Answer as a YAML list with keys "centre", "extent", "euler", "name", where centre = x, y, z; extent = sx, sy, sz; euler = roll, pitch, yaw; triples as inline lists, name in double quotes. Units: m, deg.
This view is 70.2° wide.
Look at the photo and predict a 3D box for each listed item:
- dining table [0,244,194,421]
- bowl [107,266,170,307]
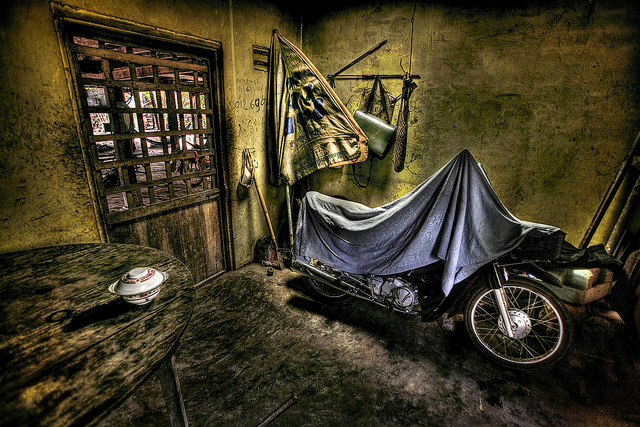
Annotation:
- centre: [-2.374, 1.158, 4.658]
  extent: [1.960, 1.093, 1.689]
  euler: [3, 19, 15]
  name: "dining table"
- centre: [-1.923, 0.783, 4.845]
  extent: [0.553, 0.349, 0.539]
  euler: [-3, 18, 1]
  name: "bowl"
